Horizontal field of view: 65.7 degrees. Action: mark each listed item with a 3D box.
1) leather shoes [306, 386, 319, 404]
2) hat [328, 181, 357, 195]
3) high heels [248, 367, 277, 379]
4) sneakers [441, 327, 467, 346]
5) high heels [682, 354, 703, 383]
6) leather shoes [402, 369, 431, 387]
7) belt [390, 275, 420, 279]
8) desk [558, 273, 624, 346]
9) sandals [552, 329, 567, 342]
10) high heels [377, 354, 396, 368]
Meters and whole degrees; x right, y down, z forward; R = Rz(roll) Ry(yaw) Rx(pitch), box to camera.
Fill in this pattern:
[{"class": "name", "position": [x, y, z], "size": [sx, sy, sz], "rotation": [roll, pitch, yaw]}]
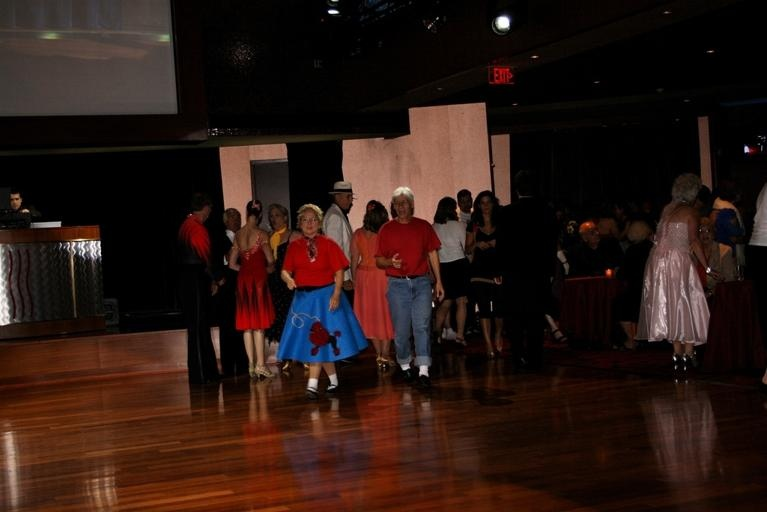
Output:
[{"class": "leather shoes", "position": [-0.755, 1.457, 6.264], "size": [0.075, 0.094, 0.213], "rotation": [-1, -17, 8]}, {"class": "hat", "position": [-0.598, -0.939, 8.229], "size": [0.308, 0.128, 0.246], "rotation": [-2, -1, -4]}, {"class": "high heels", "position": [-1.547, 1.449, 7.410], "size": [0.250, 0.104, 0.161], "rotation": [-1, 2, -25]}, {"class": "sneakers", "position": [1.067, 1.216, 8.903], "size": [0.434, 0.187, 0.153], "rotation": [0, -2, 6]}, {"class": "high heels", "position": [3.371, 1.220, 6.466], "size": [0.167, 0.229, 0.515], "rotation": [-3, 2, 23]}, {"class": "leather shoes", "position": [0.371, 1.349, 6.583], "size": [0.138, 0.170, 0.379], "rotation": [-1, 5, -33]}, {"class": "belt", "position": [0.214, 0.230, 6.395], "size": [0.274, 0.045, 0.058], "rotation": [-2, 3, 16]}, {"class": "desk", "position": [2.718, 0.750, 8.465], "size": [0.678, 0.836, 0.680], "rotation": [5, -3, -41]}, {"class": "sandals", "position": [2.408, 1.121, 8.281], "size": [0.179, 0.183, 0.150], "rotation": [-24, -6, -6]}, {"class": "high heels", "position": [0.020, 1.370, 7.750], "size": [0.115, 0.118, 0.264], "rotation": [1, 1, 28]}]
